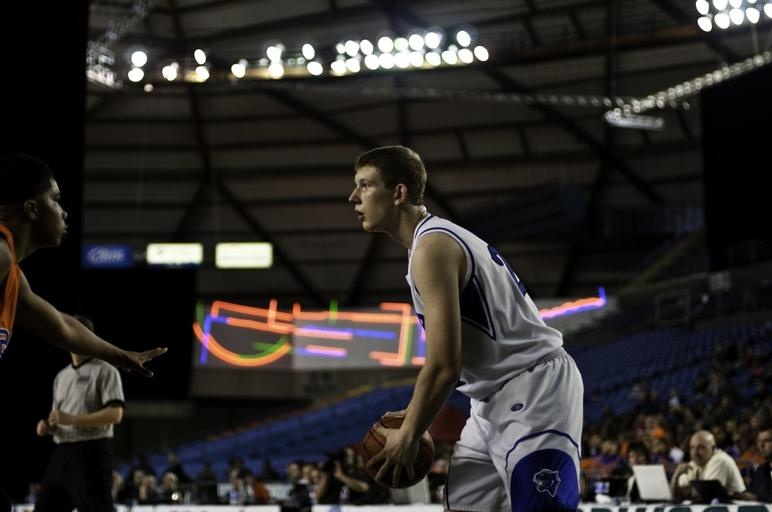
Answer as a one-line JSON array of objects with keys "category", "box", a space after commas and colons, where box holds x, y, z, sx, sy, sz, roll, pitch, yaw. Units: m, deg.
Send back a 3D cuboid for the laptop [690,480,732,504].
[{"category": "laptop", "box": [5.264, 3.791, 19.969, 0.596, 0.407, 0.436, -15, 20, 31]}]
